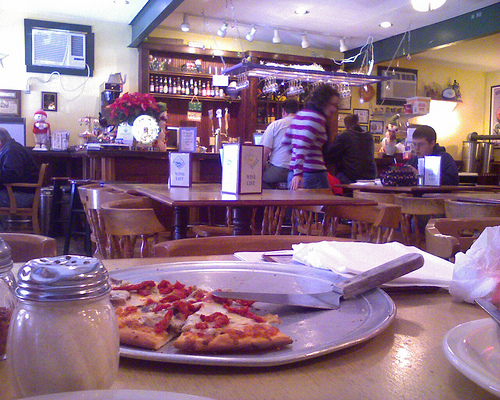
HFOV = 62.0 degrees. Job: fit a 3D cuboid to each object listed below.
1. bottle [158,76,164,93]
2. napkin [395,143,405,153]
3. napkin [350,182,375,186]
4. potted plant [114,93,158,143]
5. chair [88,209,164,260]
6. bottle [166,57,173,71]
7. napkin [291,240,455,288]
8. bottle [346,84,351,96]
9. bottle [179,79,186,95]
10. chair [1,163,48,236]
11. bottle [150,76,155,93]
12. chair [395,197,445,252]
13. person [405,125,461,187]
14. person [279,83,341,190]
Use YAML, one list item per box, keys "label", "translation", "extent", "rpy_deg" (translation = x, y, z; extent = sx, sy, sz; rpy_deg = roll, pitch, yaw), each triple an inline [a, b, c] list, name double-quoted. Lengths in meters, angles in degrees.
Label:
- label: "bottle"
  translation: [-1.584, -2.072, 7.369]
  extent: [0.093, 0.296, 0.107]
  rpy_deg: [0, 8, -12]
- label: "napkin"
  translation: [2.922, -1.043, 8.135]
  extent: [0.182, 0.144, 0.189]
  rpy_deg: [23, -5, 20]
- label: "napkin"
  translation: [1.183, -0.179, 4.334]
  extent: [0.224, 0.025, 0.496]
  rpy_deg: [4, 8, 18]
- label: "potted plant"
  translation: [-1.111, -0.811, 4.142]
  extent: [0.412, 0.448, 0.427]
  rpy_deg: [1, 8, 14]
- label: "chair"
  translation: [-0.550, 0.146, 1.815]
  extent: [0.226, 0.327, 0.242]
  rpy_deg: [-6, 11, -42]
- label: "bottle"
  translation: [-1.443, -2.434, 7.410]
  extent: [0.052, 0.232, 0.223]
  rpy_deg: [4, 28, -8]
- label: "napkin"
  translation: [0.173, 0.134, 0.692]
  extent: [0.282, 0.051, 0.302]
  rpy_deg: [-12, -17, 29]
- label: "bottle"
  translation: [1.882, -2.114, 7.865]
  extent: [0.069, 0.174, 0.183]
  rpy_deg: [3, 8, 12]
- label: "bottle"
  translation: [-1.222, -2.072, 7.545]
  extent: [0.096, 0.297, 0.159]
  rpy_deg: [0, 8, -10]
- label: "chair"
  translation: [-2.463, 0.019, 4.534]
  extent: [0.449, 0.860, 0.833]
  rpy_deg: [-2, 8, -27]
- label: "bottle"
  translation: [-1.717, -2.047, 7.302]
  extent: [0.075, 0.302, 0.141]
  rpy_deg: [0, 8, -13]
- label: "chair"
  translation: [1.061, 0.158, 2.790]
  extent: [0.258, 0.296, 0.242]
  rpy_deg: [-10, -1, -36]
- label: "person"
  translation: [1.925, -0.488, 4.338]
  extent: [0.502, 0.621, 1.184]
  rpy_deg: [5, 8, 21]
- label: "person"
  translation: [0.576, -0.609, 3.869]
  extent: [0.498, 0.971, 1.199]
  rpy_deg: [2, 7, 6]
